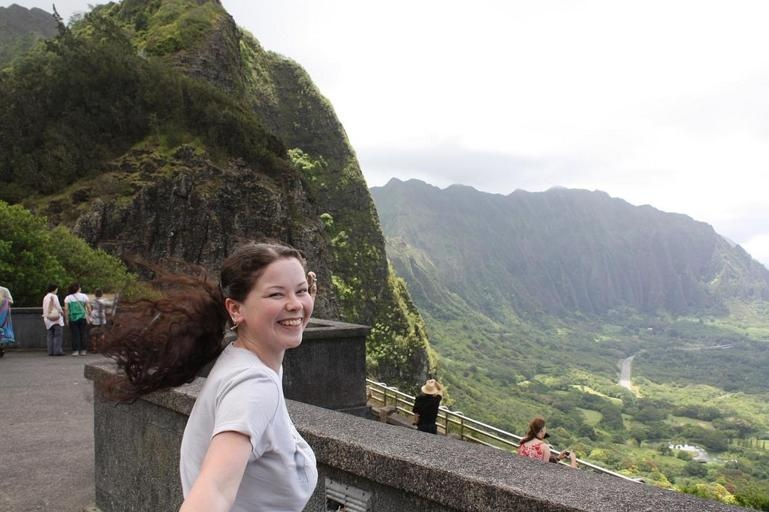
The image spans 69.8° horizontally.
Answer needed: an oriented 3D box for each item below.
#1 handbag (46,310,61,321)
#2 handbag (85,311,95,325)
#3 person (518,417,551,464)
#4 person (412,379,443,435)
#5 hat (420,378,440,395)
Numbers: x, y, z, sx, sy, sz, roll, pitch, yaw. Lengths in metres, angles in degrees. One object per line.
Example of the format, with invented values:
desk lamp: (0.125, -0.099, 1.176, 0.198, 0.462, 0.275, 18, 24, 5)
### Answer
handbag: (-8.204, 1.460, 13.697, 0.160, 0.171, 0.271, -21, 7, -19)
handbag: (-7.416, 1.559, 13.926, 0.111, 0.323, 0.240, 10, 7, 33)
person: (2.091, 2.485, 7.684, 0.402, 0.586, 0.813, 6, 1, 17)
person: (0.737, 2.706, 9.735, 0.450, 0.934, 1.156, 6, 1, 5)
hat: (0.843, 2.329, 9.948, 0.294, 0.133, 0.332, 6, 15, 14)
